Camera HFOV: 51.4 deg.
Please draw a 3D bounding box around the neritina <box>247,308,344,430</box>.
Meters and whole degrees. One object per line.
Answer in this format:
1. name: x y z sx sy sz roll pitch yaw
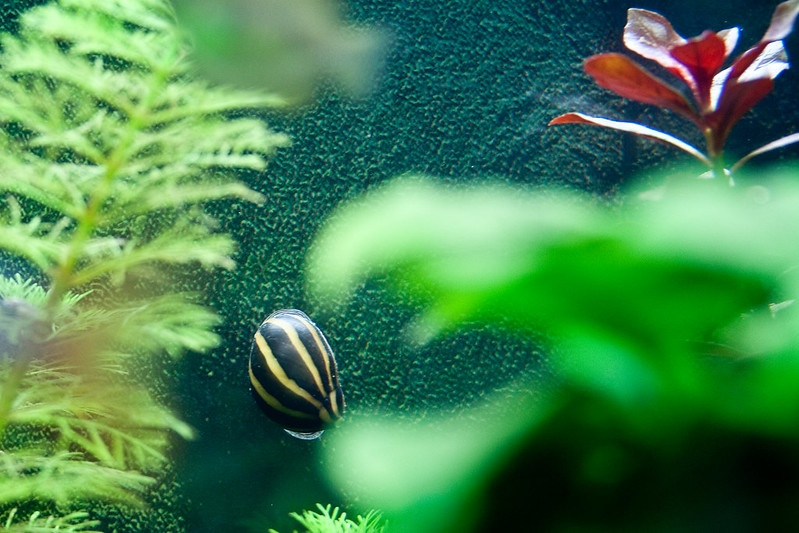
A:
1. neritina: -0.139 0.140 1.101 0.110 0.086 0.144 -33 84 -27
